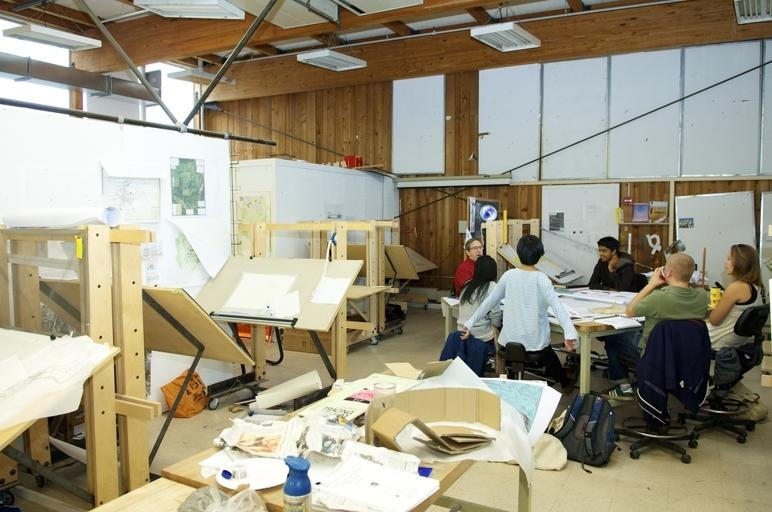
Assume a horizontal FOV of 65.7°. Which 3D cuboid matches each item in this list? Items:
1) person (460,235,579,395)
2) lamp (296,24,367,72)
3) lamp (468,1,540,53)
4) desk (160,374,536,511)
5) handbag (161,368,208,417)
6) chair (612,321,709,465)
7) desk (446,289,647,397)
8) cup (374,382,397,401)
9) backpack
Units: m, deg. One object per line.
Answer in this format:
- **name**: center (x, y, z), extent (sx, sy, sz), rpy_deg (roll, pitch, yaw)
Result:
- **person**: center (1.371, 0.576, 6.042), extent (1.037, 1.565, 0.633), rpy_deg (1, 8, 15)
- **lamp**: center (-0.809, -3.038, 9.151), extent (0.666, 0.209, 0.989), rpy_deg (2, 7, 26)
- **lamp**: center (1.616, -2.984, 8.097), extent (0.622, 0.228, 0.933), rpy_deg (3, 8, 33)
- **desk**: center (-0.177, 1.259, 3.968), extent (1.289, 0.631, 1.302), rpy_deg (2, 3, 36)
- **handbag**: center (-2.123, 1.467, 6.299), extent (0.309, 0.413, 0.607), rpy_deg (-5, 13, 16)
- **chair**: center (2.612, 1.196, 5.663), extent (0.844, 1.220, 0.764), rpy_deg (4, -2, -7)
- **desk**: center (1.431, 0.895, 6.562), extent (1.639, 0.821, 1.156), rpy_deg (17, 3, 27)
- **cup**: center (-0.013, 0.864, 3.816), extent (0.094, 0.064, 0.093), rpy_deg (0, 0, 0)
- **backpack**: center (1.823, 1.600, 5.461), extent (0.496, 0.631, 0.231), rpy_deg (2, -23, 39)
